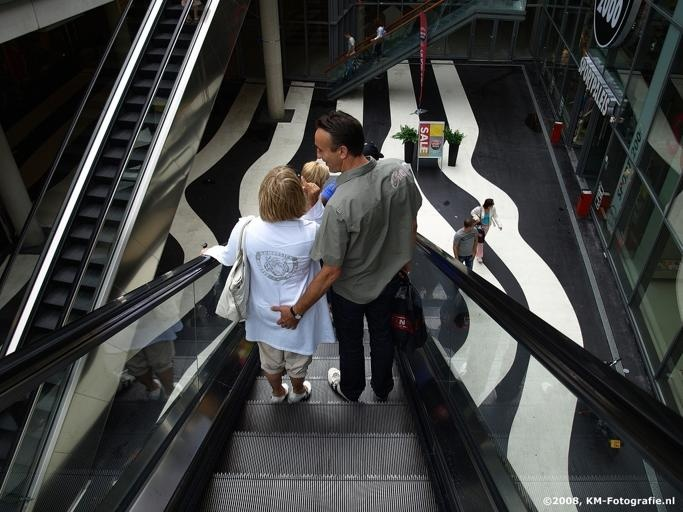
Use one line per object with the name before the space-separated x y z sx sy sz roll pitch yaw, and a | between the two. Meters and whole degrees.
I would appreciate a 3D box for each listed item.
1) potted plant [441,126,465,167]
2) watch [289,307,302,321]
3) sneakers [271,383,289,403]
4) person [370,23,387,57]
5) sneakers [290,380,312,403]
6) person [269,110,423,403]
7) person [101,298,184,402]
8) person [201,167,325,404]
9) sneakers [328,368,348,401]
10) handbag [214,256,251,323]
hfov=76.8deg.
potted plant | 3.430 -3.487 13.393 0.596 1.080 1.089 9 29 11
watch | -0.345 0.438 3.203 0.092 0.049 0.094 35 10 -41
sneakers | -0.542 1.203 3.813 0.078 0.106 0.265 4 37 8
person | 1.381 -8.119 16.147 0.434 0.982 0.641 16 29 23
sneakers | -0.365 1.209 3.849 0.089 0.116 0.259 3 26 8
person | 0.082 0.173 3.491 1.123 2.508 0.644 -16 35 -19
person | -1.291 0.507 2.925 0.349 1.044 0.259 0 13 -10
person | -0.490 0.296 3.535 1.134 2.151 0.705 1 32 -3
sneakers | -0.055 1.157 3.945 0.108 0.136 0.347 -12 65 -13
handbag | -0.841 0.257 3.315 0.178 0.527 0.258 -5 48 -22
